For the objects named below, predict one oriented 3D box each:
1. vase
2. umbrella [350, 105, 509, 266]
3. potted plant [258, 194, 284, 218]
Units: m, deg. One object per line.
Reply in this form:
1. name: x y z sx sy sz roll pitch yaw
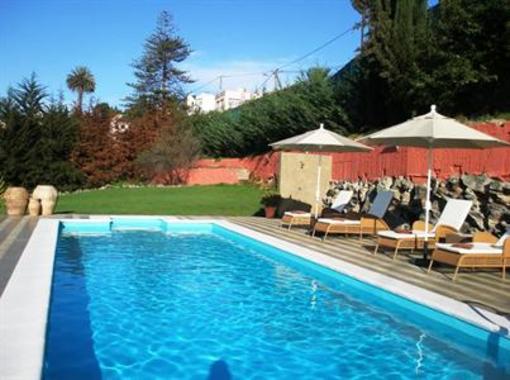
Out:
1. vase: -9.256 0.443 15.543 1.882 1.016 1.081 0 2 -1
2. umbrella: 4.259 -0.147 9.668 3.788 3.541 3.673 -2 10 -27
3. potted plant: 0.793 0.599 16.579 1.109 1.139 0.966 4 7 13
